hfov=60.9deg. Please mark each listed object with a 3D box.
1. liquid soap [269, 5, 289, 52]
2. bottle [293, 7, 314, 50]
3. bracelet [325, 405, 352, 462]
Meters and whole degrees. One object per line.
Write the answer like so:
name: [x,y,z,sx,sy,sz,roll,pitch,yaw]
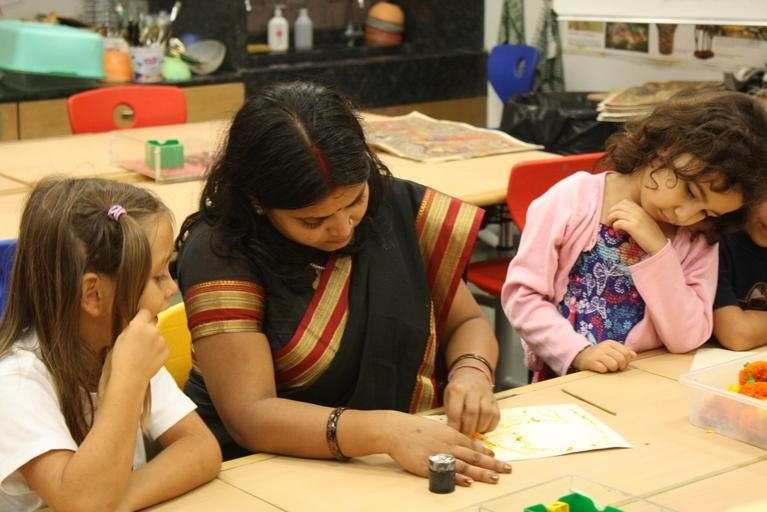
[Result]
liquid soap: [-0.663,-1.426,4.100,0.134,0.291,0.075,-2,11,-11]
bottle: [-0.503,-1.431,4.141,0.126,0.258,0.064,-1,11,-8]
bracelet: [-0.081,0.346,1.243,0.026,0.077,0.066,-7,2,4]
